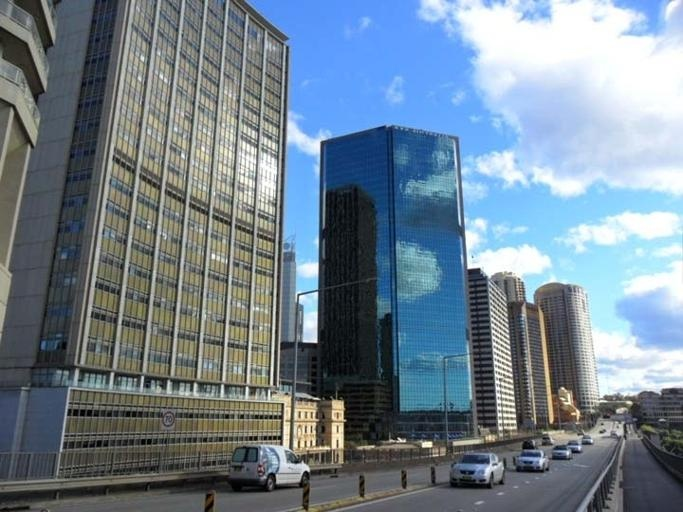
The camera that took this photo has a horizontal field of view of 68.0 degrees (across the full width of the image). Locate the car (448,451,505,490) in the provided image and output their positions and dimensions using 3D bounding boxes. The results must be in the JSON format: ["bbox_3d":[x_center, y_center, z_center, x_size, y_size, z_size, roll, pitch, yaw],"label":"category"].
[{"bbox_3d":[8.768,13.884,32.807,2.422,1.999,3.385,-17,-25,35],"label":"car"}]

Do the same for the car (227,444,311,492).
[{"bbox_3d":[-4.395,13.062,31.216,4.551,2.565,1.628,16,-25,-40],"label":"car"}]
